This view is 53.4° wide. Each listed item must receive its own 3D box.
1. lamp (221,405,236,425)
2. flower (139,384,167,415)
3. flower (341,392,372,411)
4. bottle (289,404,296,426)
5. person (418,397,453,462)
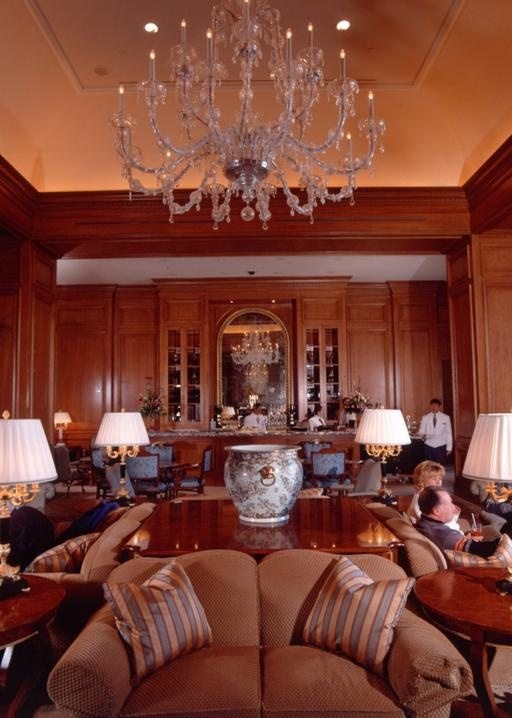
[{"bbox_3d":[-0.516,1.116,10.133,0.157,0.354,0.372,-2,-2,37],"label":"lamp"},{"bbox_3d":[-1.854,0.724,9.353,0.427,0.518,0.493,1,0,40],"label":"flower"},{"bbox_3d":[1.882,0.810,9.444,0.421,0.328,0.425,3,-3,-30],"label":"flower"},{"bbox_3d":[0.719,1.082,9.899,0.164,0.365,0.457,-1,-2,3],"label":"bottle"},{"bbox_3d":[2.878,1.168,8.227,0.501,1.085,0.880,-1,-2,18],"label":"person"}]
